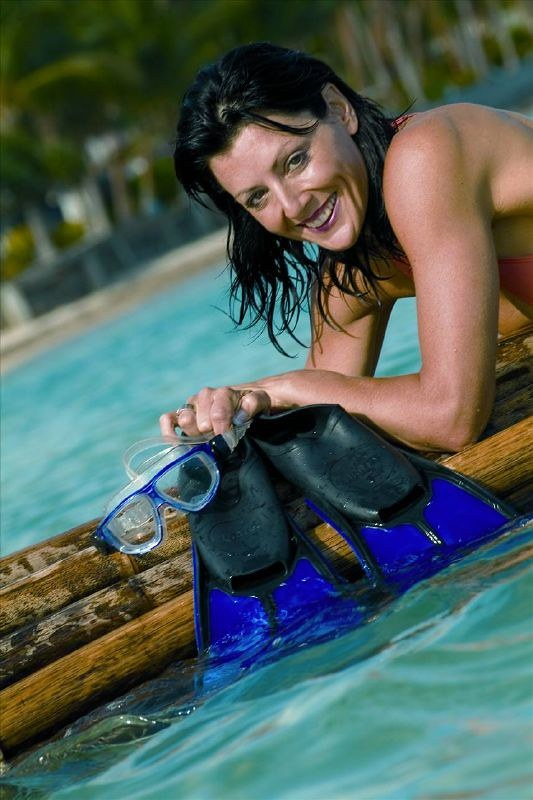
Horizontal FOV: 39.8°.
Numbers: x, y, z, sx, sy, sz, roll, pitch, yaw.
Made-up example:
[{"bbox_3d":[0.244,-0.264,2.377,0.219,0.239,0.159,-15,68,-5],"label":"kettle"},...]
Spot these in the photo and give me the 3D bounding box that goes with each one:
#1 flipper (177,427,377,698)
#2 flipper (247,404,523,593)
[{"bbox_3d":[-0.027,0.348,1.622,0.332,0.101,0.605,-9,17,-11],"label":"flipper"},{"bbox_3d":[0.201,0.166,1.699,0.353,0.113,0.649,-30,41,-22],"label":"flipper"}]
